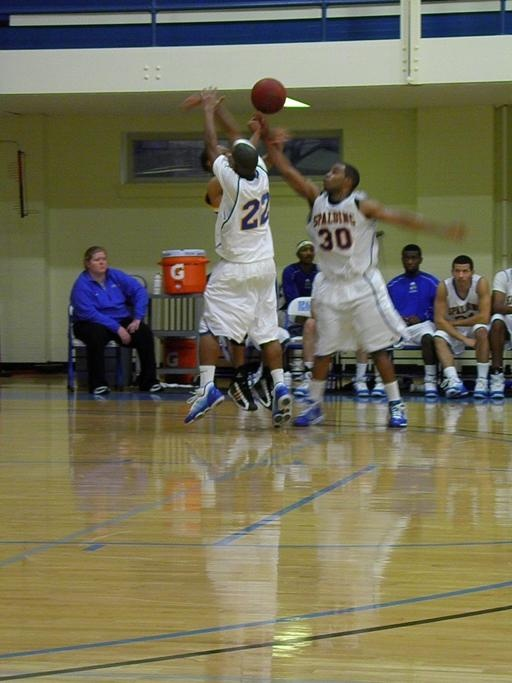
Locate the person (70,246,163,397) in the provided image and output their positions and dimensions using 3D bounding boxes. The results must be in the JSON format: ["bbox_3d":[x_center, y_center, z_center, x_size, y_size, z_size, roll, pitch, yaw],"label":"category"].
[{"bbox_3d":[-1.061,-0.168,6.567,0.613,1.099,0.730,0,1,-19],"label":"person"}]

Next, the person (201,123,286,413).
[{"bbox_3d":[-0.047,-0.341,4.019,0.450,1.453,0.292,0,1,-18],"label":"person"}]

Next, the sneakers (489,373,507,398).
[{"bbox_3d":[1.649,0.297,5.965,0.099,0.183,0.251,0,1,13],"label":"sneakers"}]

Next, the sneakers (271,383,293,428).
[{"bbox_3d":[0.102,0.298,4.090,0.085,0.209,0.096,-6,46,-12],"label":"sneakers"}]

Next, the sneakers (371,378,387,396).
[{"bbox_3d":[0.883,0.344,6.287,0.091,0.086,0.227,0,-4,6],"label":"sneakers"}]
